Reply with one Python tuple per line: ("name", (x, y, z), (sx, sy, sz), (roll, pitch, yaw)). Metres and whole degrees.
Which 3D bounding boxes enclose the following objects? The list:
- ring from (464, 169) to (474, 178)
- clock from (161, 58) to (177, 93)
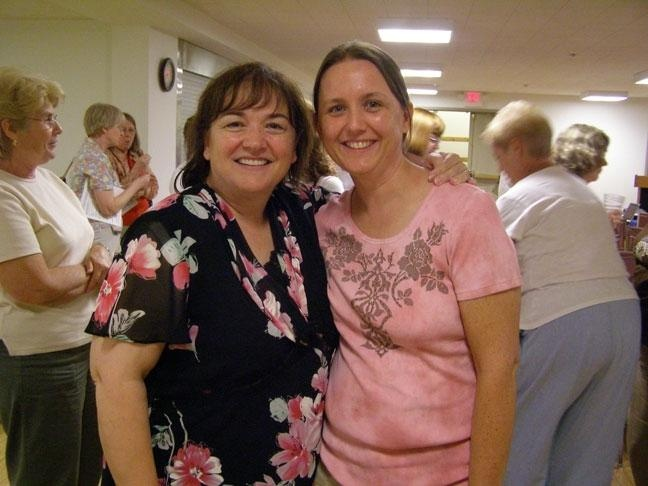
("ring", (0.540, -0.260, 1.938), (0.033, 0.026, 0.055), (-3, 6, 26))
("clock", (-1.823, -1.973, 6.081), (0.073, 0.330, 0.327), (5, -9, 16))
